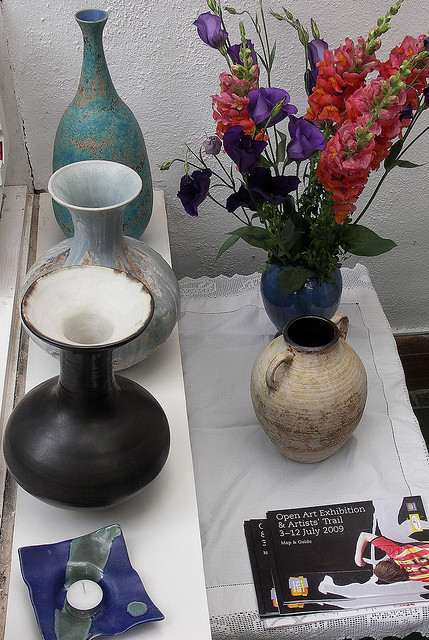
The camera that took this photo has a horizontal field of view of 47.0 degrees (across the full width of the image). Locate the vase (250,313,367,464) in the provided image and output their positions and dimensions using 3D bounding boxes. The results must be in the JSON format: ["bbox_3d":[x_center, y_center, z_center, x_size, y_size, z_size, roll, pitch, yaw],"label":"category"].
[{"bbox_3d":[0.126,0.092,0.634,0.148,0.178,0.142,-16,32,-13],"label":"vase"}]

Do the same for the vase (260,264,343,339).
[{"bbox_3d":[0.138,-0.031,0.746,0.140,0.124,0.134,-1,78,9],"label":"vase"}]

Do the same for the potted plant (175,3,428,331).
[{"bbox_3d":[0.110,-0.224,0.705,0.319,0.420,0.271,14,68,10],"label":"potted plant"}]

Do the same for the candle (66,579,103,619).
[{"bbox_3d":[-0.089,0.196,0.352,0.021,0.023,0.021,11,39,8],"label":"candle"}]

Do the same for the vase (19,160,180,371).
[{"bbox_3d":[-0.128,-0.050,0.556,0.178,0.230,0.175,3,43,-7],"label":"vase"}]
